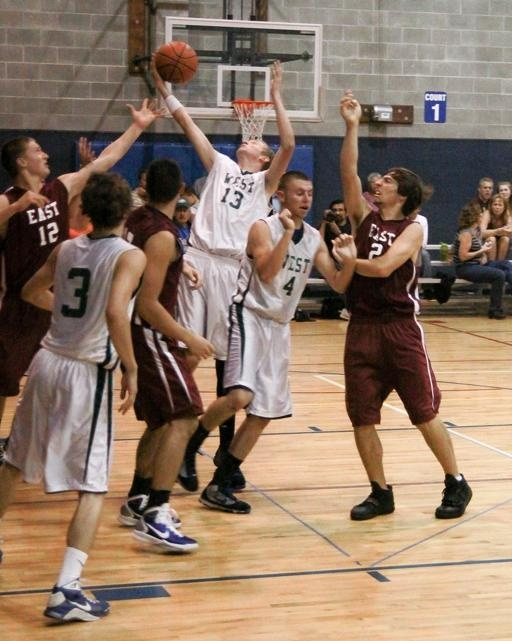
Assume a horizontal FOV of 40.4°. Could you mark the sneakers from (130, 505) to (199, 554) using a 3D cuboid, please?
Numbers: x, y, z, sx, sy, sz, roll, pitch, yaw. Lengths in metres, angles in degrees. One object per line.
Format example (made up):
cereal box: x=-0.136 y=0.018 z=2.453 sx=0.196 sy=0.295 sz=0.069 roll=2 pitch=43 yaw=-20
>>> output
sneakers: x=-0.310 y=0.726 z=2.452 sx=0.254 sy=0.134 sz=0.086 roll=7 pitch=-2 yaw=22

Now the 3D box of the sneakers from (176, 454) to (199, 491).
sneakers: x=-0.307 y=0.717 z=3.249 sx=0.095 sy=0.193 sz=0.075 roll=-2 pitch=2 yaw=30

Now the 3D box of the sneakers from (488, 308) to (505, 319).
sneakers: x=3.523 y=-0.095 z=10.175 sx=0.128 sy=0.100 sz=0.216 roll=2 pitch=-14 yaw=-7

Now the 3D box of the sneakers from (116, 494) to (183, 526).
sneakers: x=-0.374 y=0.760 z=2.827 sx=0.349 sy=0.129 sz=0.108 roll=0 pitch=-2 yaw=7

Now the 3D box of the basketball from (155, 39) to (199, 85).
basketball: x=-0.457 y=-1.621 z=4.457 sx=0.206 sy=0.184 sz=0.190 roll=11 pitch=54 yaw=23

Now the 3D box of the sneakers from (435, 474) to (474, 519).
sneakers: x=0.841 y=0.743 z=2.952 sx=0.098 sy=0.149 sz=0.268 roll=-6 pitch=6 yaw=37

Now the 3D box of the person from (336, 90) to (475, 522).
person: x=0.633 y=-0.079 z=2.955 sx=0.559 sy=1.814 sz=0.385 roll=0 pitch=3 yaw=3

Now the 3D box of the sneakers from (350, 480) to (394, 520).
sneakers: x=0.499 y=0.770 z=3.016 sx=0.275 sy=0.155 sz=0.094 roll=-1 pitch=-3 yaw=-32

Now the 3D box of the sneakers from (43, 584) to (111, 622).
sneakers: x=-0.486 y=0.760 z=1.886 sx=0.168 sy=0.123 sz=0.113 roll=-1 pitch=3 yaw=-14
